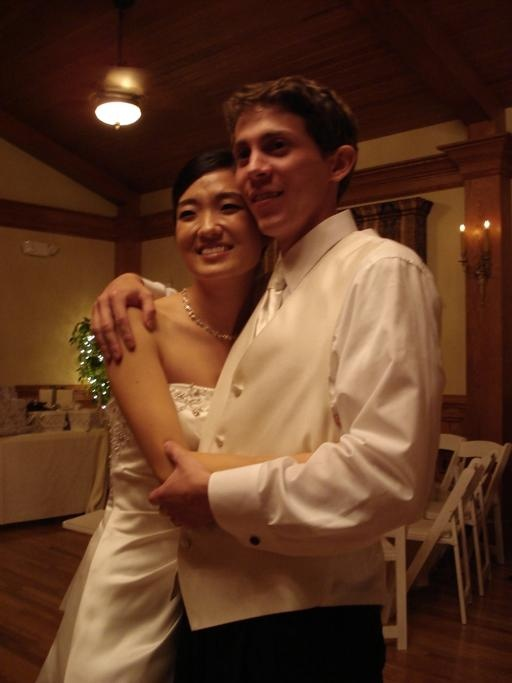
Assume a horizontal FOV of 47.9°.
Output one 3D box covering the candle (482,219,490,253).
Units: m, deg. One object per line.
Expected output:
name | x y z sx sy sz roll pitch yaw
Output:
candle | 2.240 -1.058 5.592 0.078 0.352 0.502 -1 -5 22

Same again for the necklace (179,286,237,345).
necklace | -0.120 -0.067 1.458 0.106 0.129 0.031 -17 29 39
